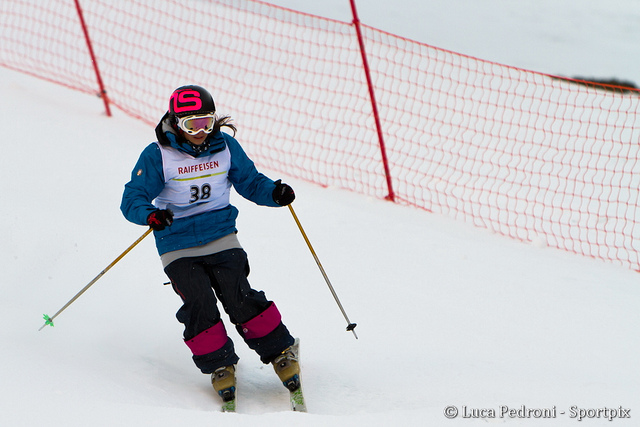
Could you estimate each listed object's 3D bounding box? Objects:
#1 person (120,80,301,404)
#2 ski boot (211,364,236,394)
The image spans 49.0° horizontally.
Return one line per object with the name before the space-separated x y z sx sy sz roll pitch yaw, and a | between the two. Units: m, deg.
person | -0.817 0.238 5.448 1.094 2.015 1.461 -18 39 -27
ski boot | -0.741 1.277 5.408 0.194 0.138 0.344 -15 12 -10
